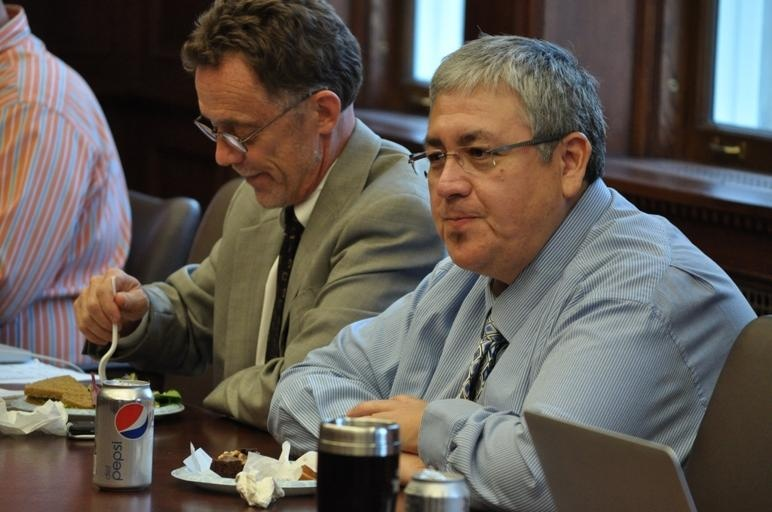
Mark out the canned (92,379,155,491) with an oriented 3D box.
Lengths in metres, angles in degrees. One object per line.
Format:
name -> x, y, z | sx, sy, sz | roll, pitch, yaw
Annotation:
canned -> -0.463, 0.320, 1.294 | 0.102, 0.210, 0.090 | 3, 7, -23

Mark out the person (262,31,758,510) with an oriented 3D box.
person -> 0.281, 0.042, 2.129 | 0.938, 1.656, 0.999 | 4, -5, -25

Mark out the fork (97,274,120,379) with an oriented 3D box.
fork -> -0.748, 0.176, 1.957 | 0.044, 0.320, 0.040 | 1, -4, -2

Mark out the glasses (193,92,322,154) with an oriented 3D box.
glasses -> -0.343, -0.372, 2.028 | 0.207, 0.057, 0.197 | -44, 26, -13
